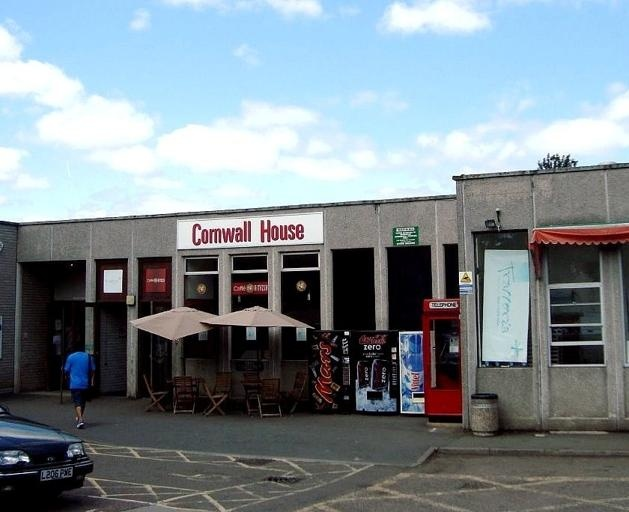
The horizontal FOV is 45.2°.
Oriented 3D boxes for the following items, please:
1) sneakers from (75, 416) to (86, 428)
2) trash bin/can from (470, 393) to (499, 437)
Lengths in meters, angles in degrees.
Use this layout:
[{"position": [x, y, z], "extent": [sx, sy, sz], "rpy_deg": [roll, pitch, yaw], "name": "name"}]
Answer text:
[{"position": [-5.361, 3.825, 17.450], "extent": [0.175, 0.237, 0.530], "rpy_deg": [0, -5, -15], "name": "sneakers"}, {"position": [3.533, 3.270, 15.686], "extent": [0.628, 0.775, 0.665], "rpy_deg": [-3, -5, 12], "name": "trash bin/can"}]
